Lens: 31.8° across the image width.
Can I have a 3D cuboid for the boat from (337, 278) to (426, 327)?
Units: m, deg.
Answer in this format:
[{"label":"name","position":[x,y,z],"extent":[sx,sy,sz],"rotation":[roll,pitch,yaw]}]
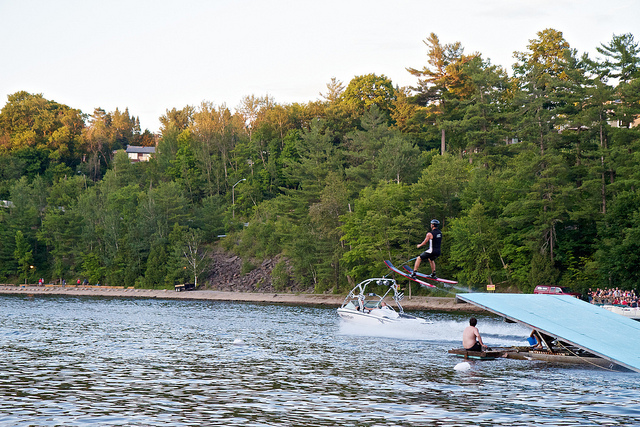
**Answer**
[{"label":"boat","position":[6.987,11.304,135.975],"extent":[5.935,5.653,13.422],"rotation":[8,-2,-38]}]
